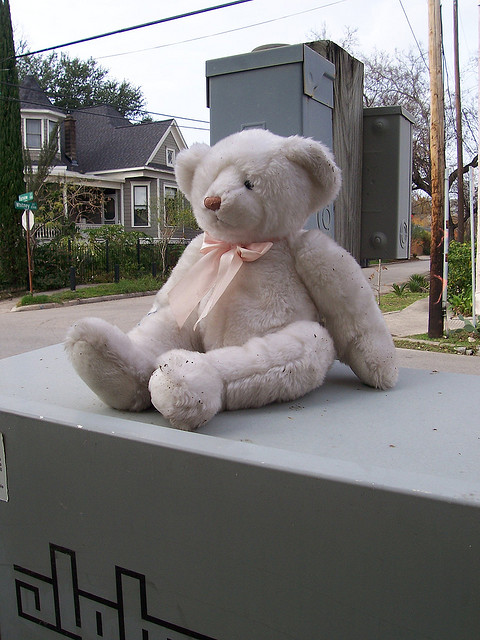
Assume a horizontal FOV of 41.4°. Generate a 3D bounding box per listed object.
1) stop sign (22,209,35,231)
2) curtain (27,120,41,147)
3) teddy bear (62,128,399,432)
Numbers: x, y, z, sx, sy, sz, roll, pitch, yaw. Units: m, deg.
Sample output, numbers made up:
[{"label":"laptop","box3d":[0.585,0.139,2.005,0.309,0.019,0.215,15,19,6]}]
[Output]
[{"label":"stop sign","box3d":[-4.462,-2.124,13.507,0.214,0.455,0.897,-4,8,-19]},{"label":"curtain","box3d":[-7.380,-6.762,22.993,0.442,0.943,0.301,-5,9,-26]},{"label":"teddy bear","box3d":[-0.089,-0.060,1.606,0.779,0.694,0.722,4,3,38]}]
